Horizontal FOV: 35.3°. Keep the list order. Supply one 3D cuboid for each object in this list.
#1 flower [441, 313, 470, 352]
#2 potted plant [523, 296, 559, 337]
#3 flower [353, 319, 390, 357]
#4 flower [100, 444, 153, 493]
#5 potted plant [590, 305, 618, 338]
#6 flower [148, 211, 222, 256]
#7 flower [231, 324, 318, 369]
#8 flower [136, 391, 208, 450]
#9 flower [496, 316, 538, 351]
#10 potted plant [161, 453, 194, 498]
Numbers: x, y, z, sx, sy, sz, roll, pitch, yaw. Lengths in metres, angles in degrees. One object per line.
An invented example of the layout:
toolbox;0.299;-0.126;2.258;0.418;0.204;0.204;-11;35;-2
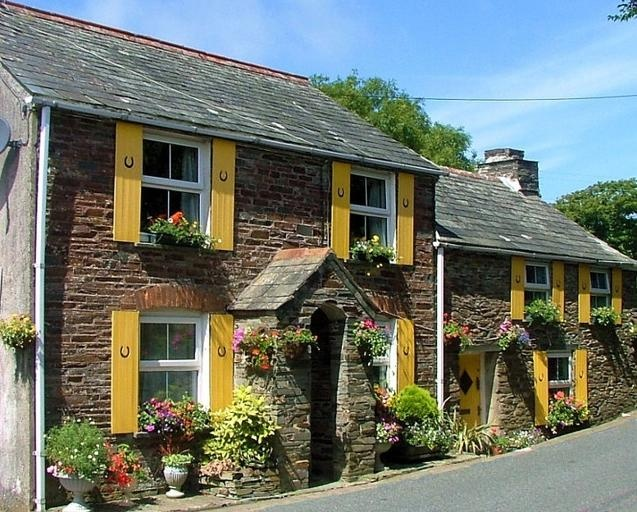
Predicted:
flower;3.176;1.722;22.501;0.361;0.837;1.063;-10;-13;30
potted plant;5.507;1.525;24.647;0.924;0.712;0.860;24;-23;-34
flower;0.981;1.582;19.155;0.692;0.733;0.290;-2;-11;-10
flower;-3.270;3.680;17.182;0.765;0.812;0.936;7;-25;14
potted plant;7.604;1.766;26.635;0.787;0.575;0.792;0;-8;29
flower;-2.632;-0.335;18.321;1.007;0.341;0.676;20;-31;-35
flower;-0.720;1.657;18.248;0.996;0.504;0.990;3;-3;-27
flower;-2.568;3.049;17.885;1.305;0.999;0.471;6;-15;-43
flower;4.699;1.810;23.672;0.753;0.625;0.868;-3;-7;45
potted plant;-2.485;3.893;17.574;0.520;0.766;0.277;-7;-11;17
